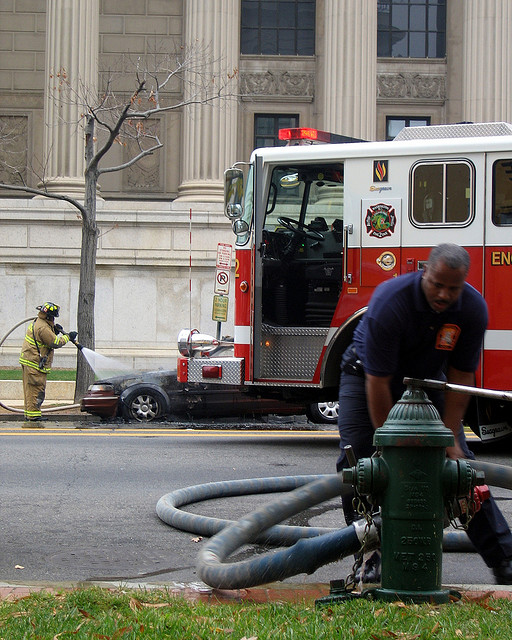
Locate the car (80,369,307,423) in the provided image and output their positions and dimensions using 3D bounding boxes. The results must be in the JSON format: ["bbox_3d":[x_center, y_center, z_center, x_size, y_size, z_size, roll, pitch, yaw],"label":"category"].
[{"bbox_3d":[-0.873,0.970,19.299,2.280,0.691,1.017,-2,-2,-4],"label":"car"}]

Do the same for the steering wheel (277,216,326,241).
[{"bbox_3d":[0.524,-0.980,17.762,0.333,0.061,0.329,30,-4,2],"label":"steering wheel"}]

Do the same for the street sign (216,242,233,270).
[{"bbox_3d":[-0.424,-0.849,22.063,0.191,0.352,0.447,1,2,-4],"label":"street sign"}]

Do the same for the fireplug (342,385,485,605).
[{"bbox_3d":[1.065,1.197,10.874,0.944,1.477,0.562,2,-5,-5],"label":"fireplug"}]

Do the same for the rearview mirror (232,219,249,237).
[{"bbox_3d":[-0.157,-0.970,17.318,0.169,0.171,0.046,13,5,16],"label":"rearview mirror"}]

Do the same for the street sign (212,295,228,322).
[{"bbox_3d":[-0.473,-0.137,21.660,0.184,0.334,0.389,1,2,-5],"label":"street sign"}]
